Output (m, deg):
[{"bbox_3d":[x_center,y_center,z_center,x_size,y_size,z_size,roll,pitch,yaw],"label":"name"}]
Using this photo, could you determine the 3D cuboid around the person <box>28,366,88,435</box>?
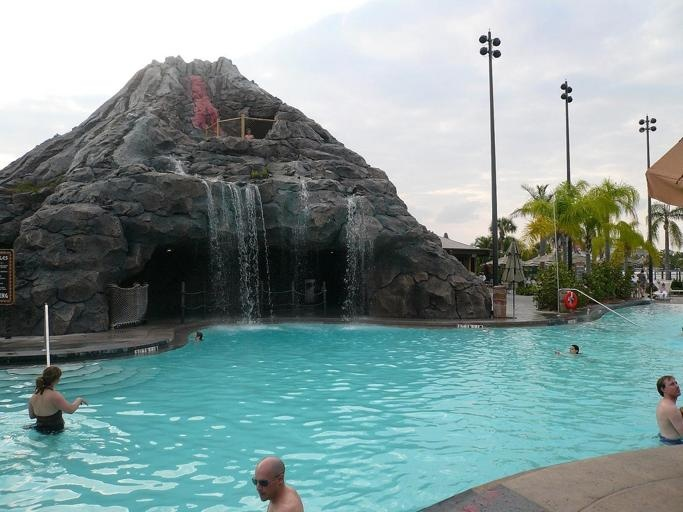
[{"bbox_3d":[-4.493,2.260,7.886,0.599,1.064,0.710,0,-6,-36],"label":"person"}]
